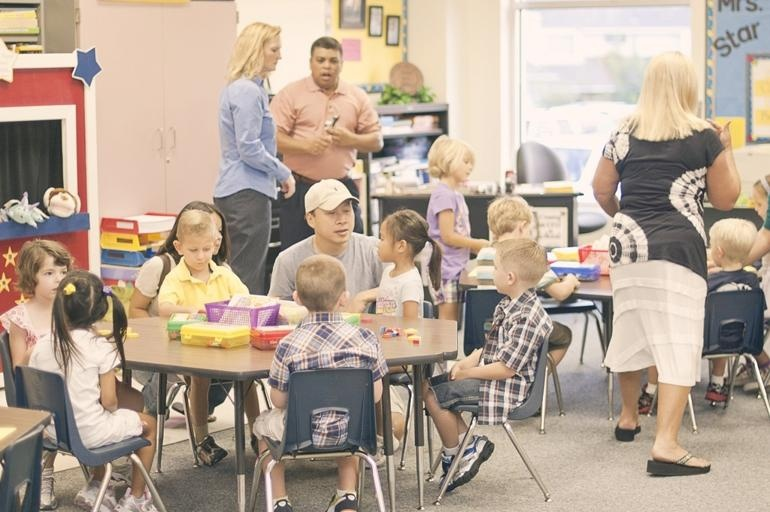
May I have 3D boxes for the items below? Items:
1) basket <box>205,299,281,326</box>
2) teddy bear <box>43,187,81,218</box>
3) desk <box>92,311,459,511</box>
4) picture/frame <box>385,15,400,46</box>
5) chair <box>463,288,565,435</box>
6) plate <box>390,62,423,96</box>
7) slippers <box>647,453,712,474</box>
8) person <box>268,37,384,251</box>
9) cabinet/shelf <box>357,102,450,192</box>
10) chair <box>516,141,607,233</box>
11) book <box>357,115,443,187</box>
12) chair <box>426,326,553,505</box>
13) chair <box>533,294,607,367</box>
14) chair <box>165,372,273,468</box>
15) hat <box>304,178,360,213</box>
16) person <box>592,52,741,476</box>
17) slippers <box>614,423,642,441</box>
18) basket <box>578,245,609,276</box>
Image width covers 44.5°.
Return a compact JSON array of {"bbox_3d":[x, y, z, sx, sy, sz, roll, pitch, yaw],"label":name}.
[{"bbox_3d":[-0.732,0.292,4.788,0.242,0.083,0.160,-1,0,17],"label":"basket"},{"bbox_3d":[-2.186,-0.352,6.456,0.233,0.186,0.219,4,-1,8],"label":"teddy bear"},{"bbox_3d":[-0.473,0.626,4.633,1.234,0.600,1.135,0,3,-16],"label":"desk"},{"bbox_3d":[0.063,-2.317,9.658,0.045,0.341,0.309,3,8,35],"label":"picture/frame"},{"bbox_3d":[0.625,0.525,4.991,0.667,0.747,0.619,2,6,7],"label":"chair"},{"bbox_3d":[0.211,-1.779,9.492,0.341,0.307,0.229,-1,14,-2],"label":"plate"},{"bbox_3d":[1.581,1.148,5.111,0.333,0.105,0.117,-2,4,-4],"label":"slippers"},{"bbox_3d":[-0.444,-0.524,7.075,0.860,2.111,0.670,-1,20,-11],"label":"person"},{"bbox_3d":[0.124,-0.966,8.488,0.346,1.016,1.085,5,10,41],"label":"cabinet/shelf"},{"bbox_3d":[1.652,-0.667,9.371,0.961,1.057,0.837,-1,-1,-26],"label":"chair"},{"bbox_3d":[0.099,-0.935,8.548,0.960,0.880,0.310,-6,7,-41],"label":"book"},{"bbox_3d":[0.673,0.856,5.243,0.877,1.075,0.740,1,-4,-3],"label":"chair"},{"bbox_3d":[1.221,0.392,6.446,0.484,0.688,0.456,-2,12,6],"label":"chair"},{"bbox_3d":[-1.090,0.912,5.528,0.627,0.580,0.480,-8,-11,15],"label":"chair"},{"bbox_3d":[-0.313,-0.334,5.294,0.179,0.125,0.237,-12,4,-44],"label":"hat"},{"bbox_3d":[1.637,0.004,5.415,0.647,2.210,0.855,1,3,-26],"label":"person"},{"bbox_3d":[1.431,1.043,5.583,0.088,0.054,0.159,1,8,16],"label":"slippers"},{"bbox_3d":[1.362,0.034,6.116,0.190,0.110,0.185,0,1,0],"label":"basket"}]
